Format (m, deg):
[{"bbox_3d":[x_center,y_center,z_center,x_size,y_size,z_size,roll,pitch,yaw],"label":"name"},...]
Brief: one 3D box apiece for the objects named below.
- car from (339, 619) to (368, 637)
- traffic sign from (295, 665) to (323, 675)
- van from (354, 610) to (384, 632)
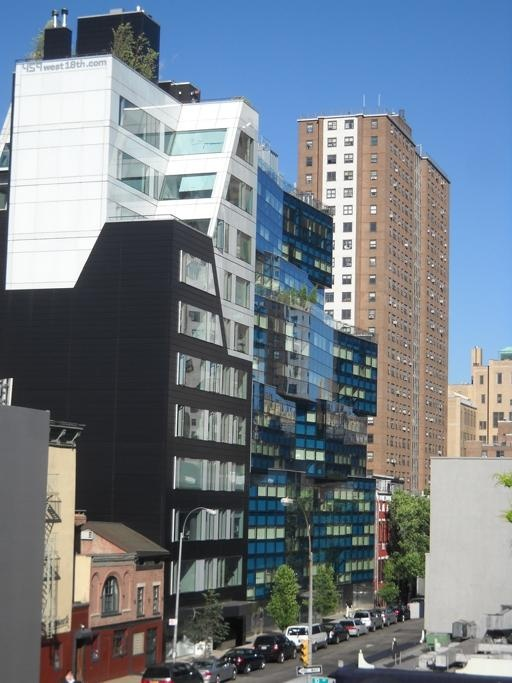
[{"bbox_3d":[6.938,20.101,89.835,0.900,0.792,2.250,0,-3,17],"label":"car"},{"bbox_3d":[1.933,12.148,47.242,0.843,0.354,0.899,-1,-13,7],"label":"traffic sign"},{"bbox_3d":[8.451,21.239,96.539,1.333,1.401,3.167,0,0,20],"label":"van"}]
